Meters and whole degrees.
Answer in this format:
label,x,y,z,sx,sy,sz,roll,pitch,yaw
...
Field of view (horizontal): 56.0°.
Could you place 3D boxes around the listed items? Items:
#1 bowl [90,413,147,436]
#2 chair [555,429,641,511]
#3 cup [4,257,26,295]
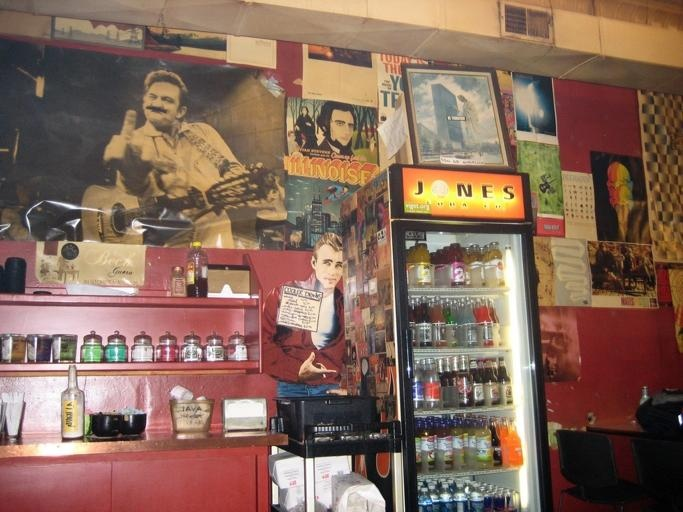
label,x,y,z,sx,sy,sz,roll,pitch,yaw
bowl,-1.484,1.113,4.245,0.255,0.097,0.177,6,-28,-11
chair,1.938,1.603,4.789,0.571,0.607,0.404,-5,-14,14
cup,-2.231,0.132,4.375,0.142,0.280,0.214,6,-15,-27
